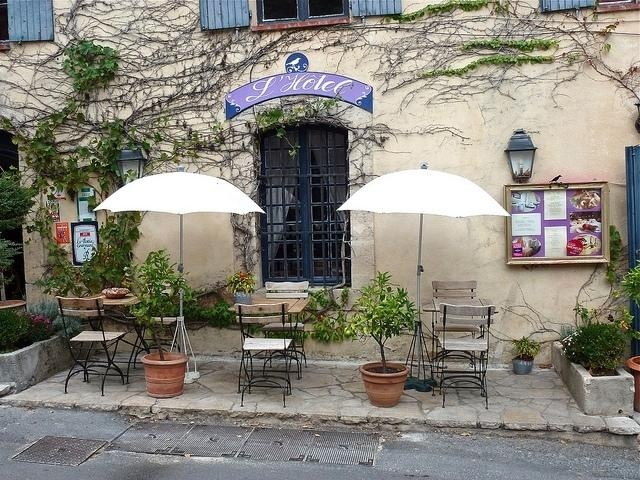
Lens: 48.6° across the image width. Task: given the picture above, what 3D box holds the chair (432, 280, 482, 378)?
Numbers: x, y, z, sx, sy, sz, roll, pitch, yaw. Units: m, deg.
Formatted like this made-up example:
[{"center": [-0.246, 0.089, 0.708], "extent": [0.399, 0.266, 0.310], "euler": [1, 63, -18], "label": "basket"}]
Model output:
[{"center": [1.808, 1.024, 9.556], "extent": [0.836, 1.035, 0.741], "euler": [1, -2, 7], "label": "chair"}]

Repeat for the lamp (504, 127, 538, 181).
[{"center": [2.740, -1.141, 9.613], "extent": [0.420, 0.730, 0.232], "euler": [0, 4, 15], "label": "lamp"}]

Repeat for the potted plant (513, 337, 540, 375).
[{"center": [2.804, 1.552, 9.605], "extent": [0.355, 0.461, 0.303], "euler": [-1, 4, 13], "label": "potted plant"}]

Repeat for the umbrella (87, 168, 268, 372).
[{"center": [-1.586, 0.365, 9.686], "extent": [2.243, 2.652, 2.301], "euler": [0, 0, -2], "label": "umbrella"}]

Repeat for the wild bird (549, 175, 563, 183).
[{"center": [3.203, -0.823, 9.575], "extent": [0.153, 0.101, 0.080], "euler": [-2, -3, 12], "label": "wild bird"}]

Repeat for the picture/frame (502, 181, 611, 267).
[{"center": [3.271, -0.236, 9.587], "extent": [1.089, 0.965, 0.090], "euler": [0, -1, 5], "label": "picture/frame"}]

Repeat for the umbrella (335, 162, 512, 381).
[{"center": [1.262, 0.377, 9.335], "extent": [2.398, 2.679, 2.323], "euler": [0, 0, -1], "label": "umbrella"}]

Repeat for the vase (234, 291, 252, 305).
[{"center": [-1.013, 0.743, 9.147], "extent": [0.264, 0.270, 0.150], "euler": [0, -3, 11], "label": "vase"}]

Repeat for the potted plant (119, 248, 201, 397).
[{"center": [-2.023, 1.000, 9.170], "extent": [0.737, 1.808, 0.775], "euler": [-3, 3, 10], "label": "potted plant"}]

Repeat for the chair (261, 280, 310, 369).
[{"center": [-0.493, 0.990, 9.518], "extent": [0.587, 1.023, 0.661], "euler": [-2, -17, 5], "label": "chair"}]

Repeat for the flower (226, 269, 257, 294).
[{"center": [-1.067, 0.574, 9.822], "extent": [0.302, 0.229, 0.313], "euler": [1, -7, -1], "label": "flower"}]

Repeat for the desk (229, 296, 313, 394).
[{"center": [-0.636, 1.340, 9.205], "extent": [1.037, 0.730, 1.070], "euler": [0, 0, 3], "label": "desk"}]
